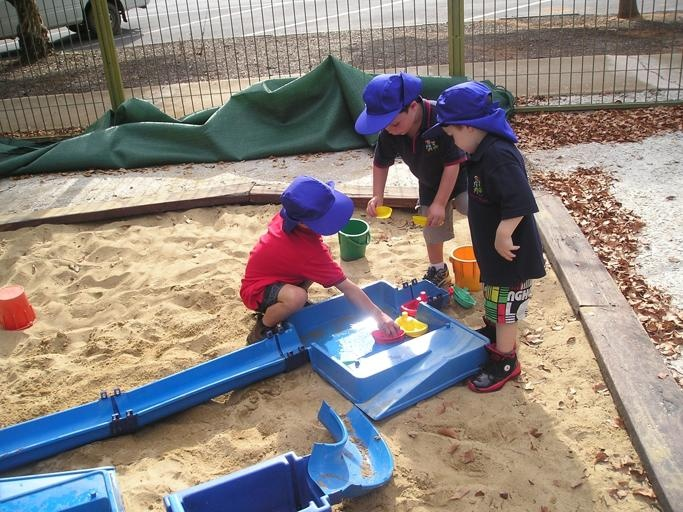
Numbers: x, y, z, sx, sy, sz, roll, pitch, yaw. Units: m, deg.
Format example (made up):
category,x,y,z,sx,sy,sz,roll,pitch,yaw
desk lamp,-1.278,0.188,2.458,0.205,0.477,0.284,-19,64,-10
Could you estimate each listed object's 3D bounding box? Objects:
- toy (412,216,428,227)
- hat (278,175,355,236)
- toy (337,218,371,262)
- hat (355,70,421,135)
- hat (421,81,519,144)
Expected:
category,x,y,z,sx,sy,sz,roll,pitch,yaw
toy,0.561,-0.251,3.898,0.138,0.055,0.146,4,7,8
hat,-0.139,-0.295,3.400,0.486,0.237,0.331,-8,65,13
toy,0.109,-0.087,4.761,0.334,0.243,0.292,-4,-8,-25
hat,0.309,-1.018,3.661,0.493,0.383,0.317,-24,31,-38
hat,0.722,-0.814,3.097,0.477,0.228,0.377,10,30,16
